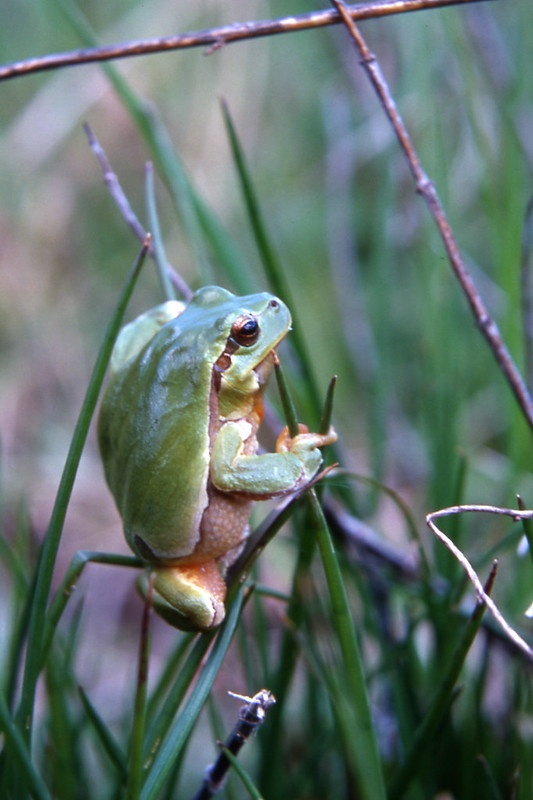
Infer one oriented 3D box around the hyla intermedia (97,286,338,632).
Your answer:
[{"bbox_3d":[-0.060,0.043,0.743,0.152,0.260,0.284,-12,24,-23],"label":"hyla intermedia"}]
